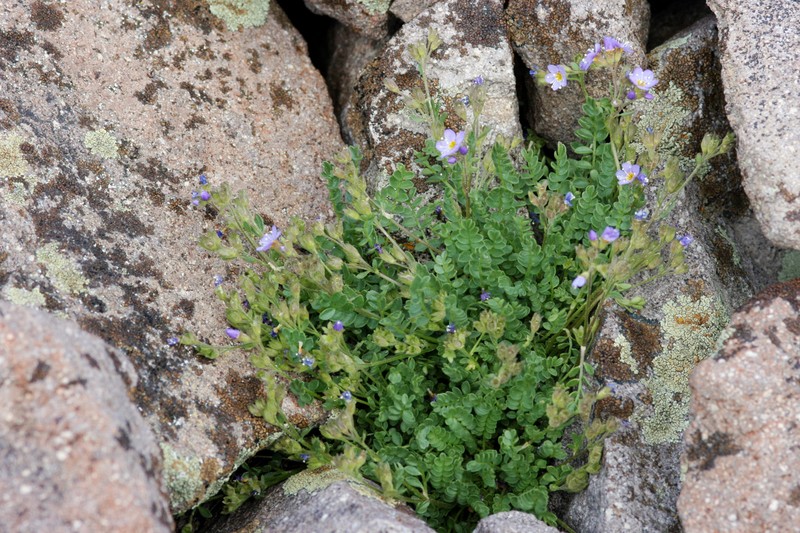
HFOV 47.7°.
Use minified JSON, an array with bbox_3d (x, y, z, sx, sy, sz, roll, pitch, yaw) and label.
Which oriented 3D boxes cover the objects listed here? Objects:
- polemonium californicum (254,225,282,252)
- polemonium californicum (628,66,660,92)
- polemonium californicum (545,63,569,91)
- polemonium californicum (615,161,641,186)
[{"bbox_3d":[-0.768,-0.186,5.317,0.074,0.145,0.150,37,104,6],"label":"polemonium californicum"},{"bbox_3d":[1.472,-1.141,5.459,0.153,0.093,0.192,2,68,-4],"label":"polemonium californicum"},{"bbox_3d":[0.981,-1.179,5.669,0.131,0.156,0.215,8,61,15],"label":"polemonium californicum"},{"bbox_3d":[1.393,-0.561,5.479,0.140,0.129,0.158,12,62,17],"label":"polemonium californicum"}]
